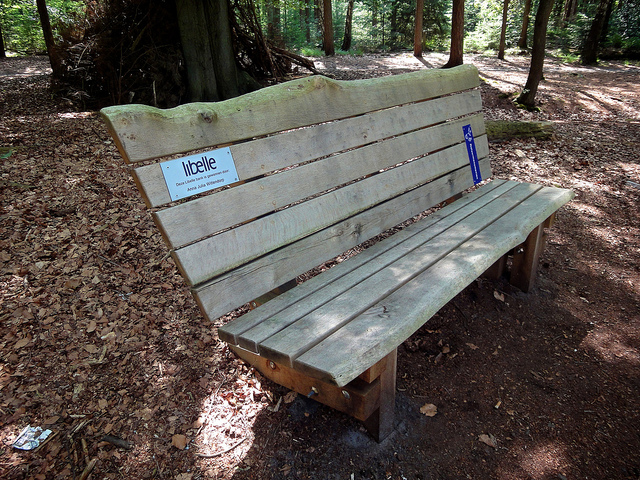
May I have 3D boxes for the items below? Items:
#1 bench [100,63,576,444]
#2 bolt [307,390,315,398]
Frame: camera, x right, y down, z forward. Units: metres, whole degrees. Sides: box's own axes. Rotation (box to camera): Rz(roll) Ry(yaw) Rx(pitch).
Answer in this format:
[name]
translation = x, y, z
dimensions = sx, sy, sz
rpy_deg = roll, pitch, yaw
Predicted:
[bench]
translation = 0.375, -0.069, 2.992
dimensions = 1.439, 2.056, 2.527
rpy_deg = 20, 36, 37
[bolt]
translation = -0.050, 0.875, 2.390
dimensions = 0.041, 0.057, 0.022
rpy_deg = -2, 31, 6
